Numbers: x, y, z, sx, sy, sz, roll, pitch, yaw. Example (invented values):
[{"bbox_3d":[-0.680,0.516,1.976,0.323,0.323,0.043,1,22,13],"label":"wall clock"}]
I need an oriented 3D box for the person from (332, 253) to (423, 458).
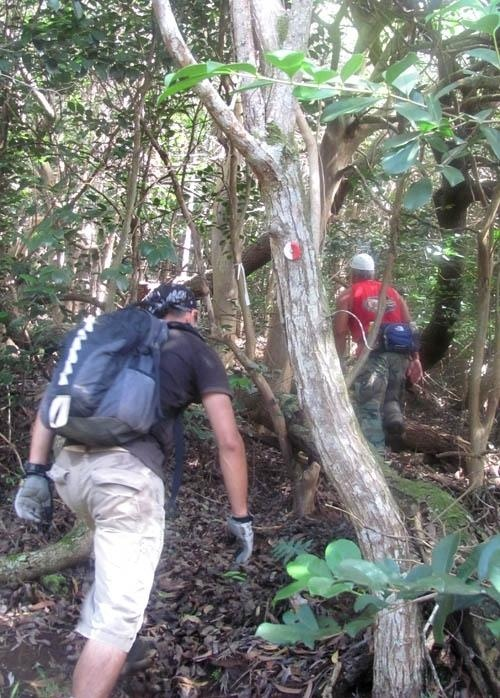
[{"bbox_3d":[1.112,-0.017,5.150,0.643,1.412,1.244,-3,-2,23],"label":"person"}]

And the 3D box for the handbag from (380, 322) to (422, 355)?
[{"bbox_3d":[1.326,-0.093,5.194,0.302,0.204,0.151,-11,-6,-26],"label":"handbag"}]

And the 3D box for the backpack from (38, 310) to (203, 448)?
[{"bbox_3d":[-0.598,0.118,2.469,0.546,0.599,0.298,-2,-1,-21],"label":"backpack"}]

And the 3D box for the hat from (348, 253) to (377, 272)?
[{"bbox_3d":[1.031,-0.774,5.313,0.199,0.118,0.221,4,24,7],"label":"hat"}]

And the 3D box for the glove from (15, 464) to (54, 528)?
[{"bbox_3d":[-1.016,0.669,2.718,0.199,0.293,0.099,16,-36,-31],"label":"glove"}]
